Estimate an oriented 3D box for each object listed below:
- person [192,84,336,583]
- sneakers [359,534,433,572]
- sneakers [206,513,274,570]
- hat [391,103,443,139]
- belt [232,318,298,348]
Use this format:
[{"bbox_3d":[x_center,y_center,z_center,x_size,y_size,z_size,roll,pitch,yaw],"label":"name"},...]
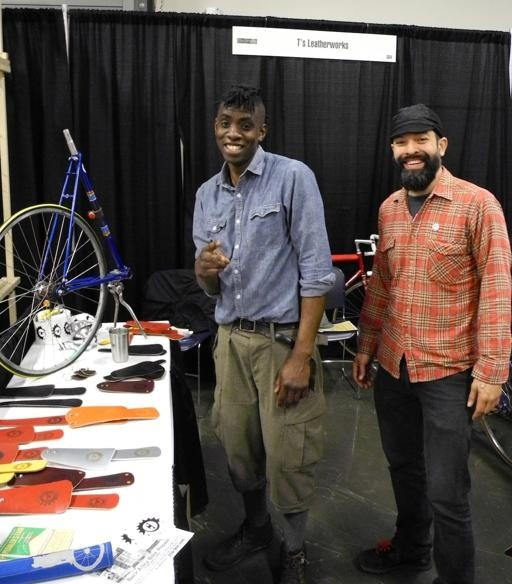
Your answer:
[{"bbox_3d":[0.009,0.217,1.544,0.422,1.608,0.389,3,11,-8],"label":"person"},{"bbox_3d":[0.492,0.956,1.830,0.296,0.120,0.111,1,0,16],"label":"sneakers"},{"bbox_3d":[-0.045,0.909,1.885,0.309,0.124,0.107,-14,23,-27],"label":"sneakers"},{"bbox_3d":[0.462,-0.494,1.466,0.099,0.068,0.138,-2,4,33],"label":"hat"},{"bbox_3d":[0.029,0.108,1.447,0.121,0.034,0.088,11,1,12],"label":"belt"}]
